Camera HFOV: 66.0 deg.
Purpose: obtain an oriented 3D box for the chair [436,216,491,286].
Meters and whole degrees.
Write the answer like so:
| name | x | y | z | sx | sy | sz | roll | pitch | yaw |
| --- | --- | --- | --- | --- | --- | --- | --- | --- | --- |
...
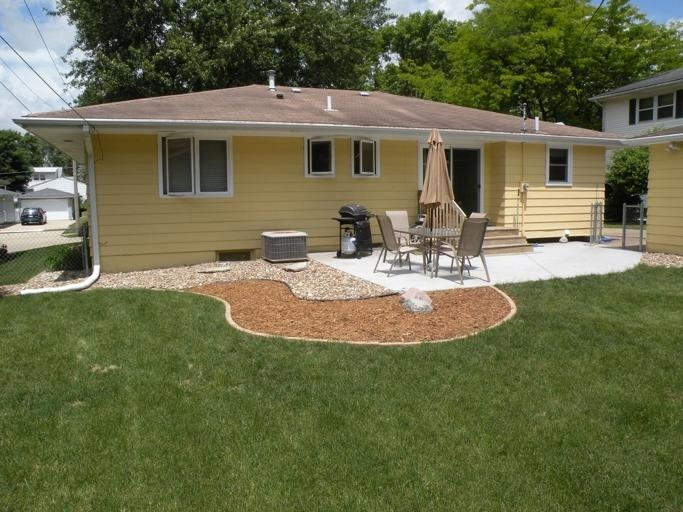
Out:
| name | x | y | z | sx | sy | sz | roll | pitch | yaw |
| --- | --- | --- | --- | --- | --- | --- | --- | --- | --- |
| chair | 2.404 | -0.158 | 9.743 | 0.535 | 0.845 | 0.636 | 21 | -9 | -29 |

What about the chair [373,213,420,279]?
| name | x | y | z | sx | sy | sz | roll | pitch | yaw |
| --- | --- | --- | --- | --- | --- | --- | --- | --- | --- |
| chair | 1.129 | -0.243 | 10.514 | 0.848 | 1.133 | 0.648 | -2 | 11 | -28 |

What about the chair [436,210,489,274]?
| name | x | y | z | sx | sy | sz | roll | pitch | yaw |
| --- | --- | --- | --- | --- | --- | --- | --- | --- | --- |
| chair | 2.235 | -0.184 | 9.823 | 0.839 | 1.185 | 0.964 | 0 | 11 | -7 |

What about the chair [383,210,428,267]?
| name | x | y | z | sx | sy | sz | roll | pitch | yaw |
| --- | --- | --- | --- | --- | --- | --- | --- | --- | --- |
| chair | 1.333 | -0.231 | 11.392 | 0.854 | 1.199 | 0.789 | -6 | 9 | -20 |

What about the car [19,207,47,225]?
| name | x | y | z | sx | sy | sz | roll | pitch | yaw |
| --- | --- | --- | --- | --- | --- | --- | --- | --- | --- |
| car | -26.377 | -3.588 | 45.429 | 1.640 | 1.293 | 2.607 | -4 | 13 | -27 |
